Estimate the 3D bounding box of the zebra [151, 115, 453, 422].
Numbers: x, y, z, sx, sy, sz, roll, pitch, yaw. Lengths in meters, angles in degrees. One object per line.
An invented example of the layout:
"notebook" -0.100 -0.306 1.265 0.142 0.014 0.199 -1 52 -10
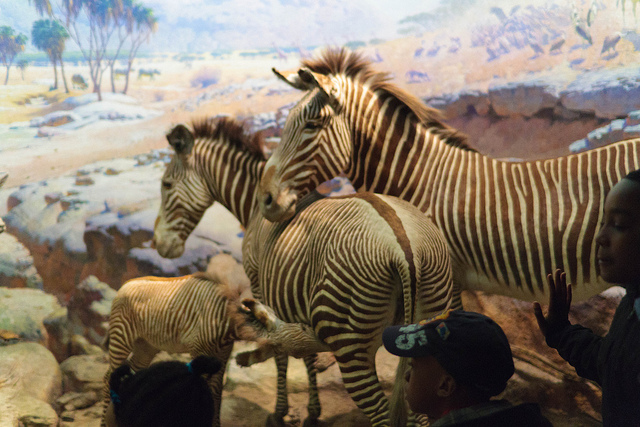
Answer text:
"zebra" -0.325 0.530 7.893 3.848 3.334 1.712 12 18 39
